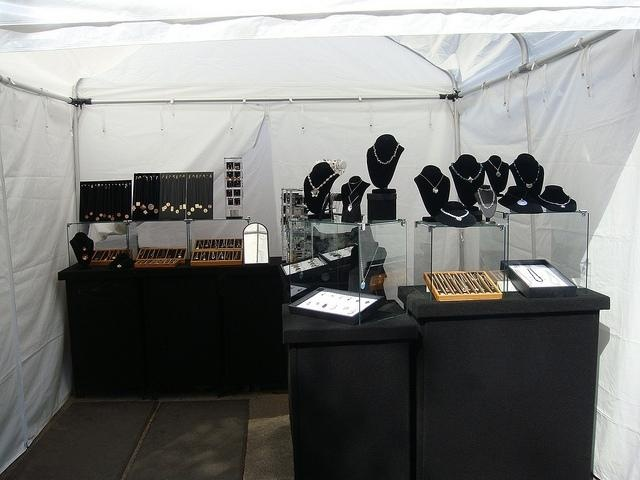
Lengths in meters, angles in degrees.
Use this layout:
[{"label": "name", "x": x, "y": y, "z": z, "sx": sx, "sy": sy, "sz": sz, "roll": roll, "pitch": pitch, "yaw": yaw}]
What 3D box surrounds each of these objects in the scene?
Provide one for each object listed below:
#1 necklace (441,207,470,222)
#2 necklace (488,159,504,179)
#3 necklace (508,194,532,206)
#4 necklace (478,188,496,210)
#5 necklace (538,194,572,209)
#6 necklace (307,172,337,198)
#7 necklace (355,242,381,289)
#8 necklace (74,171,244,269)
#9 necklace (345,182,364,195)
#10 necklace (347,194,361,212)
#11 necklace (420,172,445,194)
[{"label": "necklace", "x": 0.795, "y": -0.147, "z": 2.792, "sx": 0.157, "sy": 0.072, "sz": 0.154, "roll": -2, "pitch": 9, "yaw": 17}, {"label": "necklace", "x": 1.167, "y": -0.481, "z": 3.222, "sx": 0.101, "sy": 0.116, "sz": 0.108, "roll": 12, "pitch": 2, "yaw": -1}, {"label": "necklace", "x": 1.246, "y": -0.245, "z": 2.963, "sx": 0.098, "sy": 0.063, "sz": 0.126, "roll": -1, "pitch": 9, "yaw": 25}, {"label": "necklace", "x": 1.023, "y": -0.246, "z": 2.910, "sx": 0.104, "sy": 0.157, "sz": 0.076, "roll": 1, "pitch": -9, "yaw": 2}, {"label": "necklace", "x": 1.461, "y": -0.236, "z": 2.950, "sx": 0.172, "sy": 0.088, "sz": 0.108, "roll": 0, "pitch": 9, "yaw": 29}, {"label": "necklace", "x": 0.016, "y": -0.352, "z": 3.237, "sx": 0.263, "sy": 0.184, "sz": 0.125, "roll": 0, "pitch": 0, "yaw": 37}, {"label": "necklace", "x": 0.286, "y": 0.149, "z": 2.717, "sx": 0.139, "sy": 0.275, "sz": 0.154, "roll": -6, "pitch": 0, "yaw": -3}, {"label": "necklace", "x": -1.405, "y": -0.159, "z": 4.030, "sx": 1.376, "sy": 0.814, "sz": 0.446, "roll": -4, "pitch": 7, "yaw": 3}, {"label": "necklace", "x": 0.215, "y": -0.289, "z": 2.925, "sx": 0.104, "sy": 0.122, "sz": 0.066, "roll": 1, "pitch": -3, "yaw": 5}, {"label": "necklace", "x": 0.209, "y": -0.227, "z": 2.914, "sx": 0.081, "sy": 0.097, "sz": 0.021, "roll": 2, "pitch": -12, "yaw": 7}, {"label": "necklace", "x": 0.723, "y": -0.354, "z": 3.055, "sx": 0.112, "sy": 0.053, "sz": 0.118, "roll": -1, "pitch": 28, "yaw": 2}]
